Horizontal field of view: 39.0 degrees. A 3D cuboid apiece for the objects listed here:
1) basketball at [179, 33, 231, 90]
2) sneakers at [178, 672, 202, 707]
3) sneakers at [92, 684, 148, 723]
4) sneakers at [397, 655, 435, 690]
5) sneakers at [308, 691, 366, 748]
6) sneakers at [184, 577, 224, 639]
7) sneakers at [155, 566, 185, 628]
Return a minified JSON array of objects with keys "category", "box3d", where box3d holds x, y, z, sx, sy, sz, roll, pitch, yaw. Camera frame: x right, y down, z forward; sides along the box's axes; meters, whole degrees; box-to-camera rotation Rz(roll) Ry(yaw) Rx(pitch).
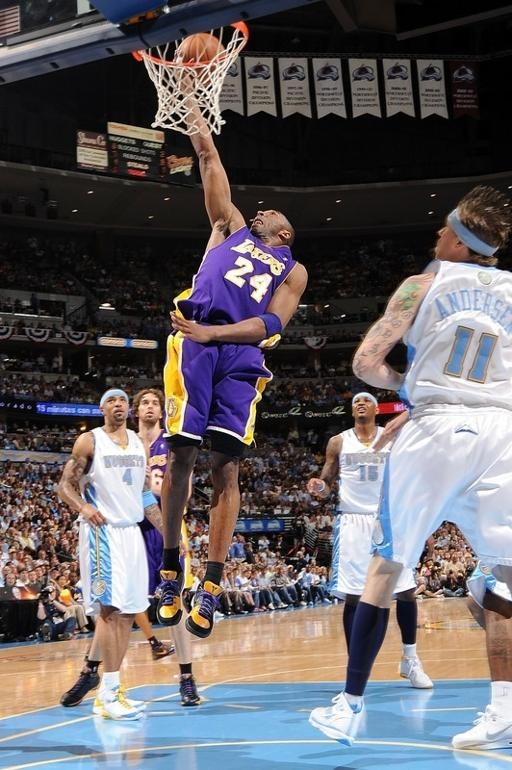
[{"category":"basketball","box3d":[-0.318,-1.895,4.247,0.317,0.242,0.220,-11,-19,-7]},{"category":"sneakers","box3d":[-0.458,2.075,4.933,0.097,0.103,0.248,-3,-6,-6]},{"category":"sneakers","box3d":[-0.842,1.935,4.419,0.316,0.134,0.186,-4,-8,26]},{"category":"sneakers","box3d":[1.220,2.133,5.395,0.147,0.147,0.372,2,-9,-16]},{"category":"sneakers","box3d":[0.309,1.284,2.773,0.190,0.229,0.189,1,-1,15]},{"category":"sneakers","box3d":[-0.199,0.963,3.144,0.113,0.128,0.312,32,4,1]},{"category":"sneakers","box3d":[-0.397,0.968,3.337,0.119,0.125,0.305,-2,30,2]}]
